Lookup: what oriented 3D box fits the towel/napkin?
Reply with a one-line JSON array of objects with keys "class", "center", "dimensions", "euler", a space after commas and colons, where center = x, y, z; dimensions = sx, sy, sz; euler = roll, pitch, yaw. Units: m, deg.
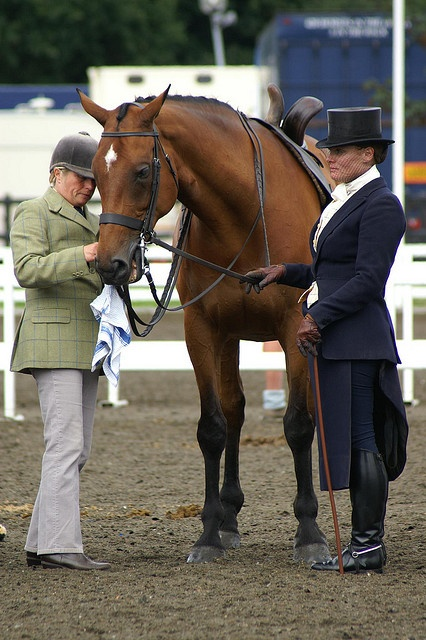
[{"class": "towel/napkin", "center": [-0.471, 0.062, 7.142], "dimensions": [0.118, 0.458, 0.200], "euler": [4, 8, 39]}]

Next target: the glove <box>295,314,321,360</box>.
[{"class": "glove", "center": [0.427, 0.065, 6.903], "dimensions": [0.103, 0.199, 0.123], "euler": [-1, 7, 2]}]

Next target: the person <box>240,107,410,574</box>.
[{"class": "person", "center": [0.605, 0.086, 7.044], "dimensions": [0.548, 2.095, 0.452], "euler": [0, 7, 5]}]

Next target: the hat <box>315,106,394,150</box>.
[{"class": "hat", "center": [0.648, -0.879, 7.045], "dimensions": [0.378, 0.169, 0.342], "euler": [0, 12, 13]}]

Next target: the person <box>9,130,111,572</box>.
[{"class": "person", "center": [-0.731, 0.139, 7.234], "dimensions": [0.439, 2.019, 0.579], "euler": [-1, 7, -4]}]

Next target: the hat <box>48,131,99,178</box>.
[{"class": "hat", "center": [-0.655, -0.773, 7.260], "dimensions": [0.233, 0.152, 0.169], "euler": [29, 13, 34]}]

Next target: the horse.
[{"class": "horse", "center": [0.231, -0.072, 8.018], "dimensions": [0.801, 2.562, 3.257], "euler": [-3, 1, 18]}]

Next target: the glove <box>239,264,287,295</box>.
[{"class": "glove", "center": [0.237, -0.205, 7.124], "dimensions": [0.198, 0.060, 0.108], "euler": [-29, 11, -9]}]
